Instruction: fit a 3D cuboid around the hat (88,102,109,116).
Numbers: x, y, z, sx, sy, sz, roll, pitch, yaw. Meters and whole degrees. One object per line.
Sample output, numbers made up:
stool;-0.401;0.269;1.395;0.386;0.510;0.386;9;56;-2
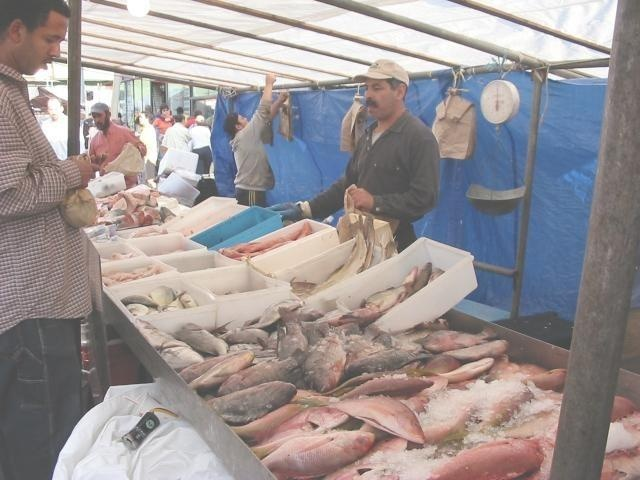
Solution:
hat;-2.252;-1.344;5.578;0.120;0.096;0.175;0;3;7

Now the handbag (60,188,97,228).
handbag;-0.996;-0.132;2.221;0.074;0.139;0.097;16;34;32

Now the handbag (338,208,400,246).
handbag;0.262;-0.095;2.701;0.218;0.175;0.278;-10;18;-36

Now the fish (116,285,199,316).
fish;-0.699;0.228;2.442;0.281;0.104;0.316;2;12;22

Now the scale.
scale;1.265;-0.639;3.831;0.473;0.937;0.247;11;16;35
